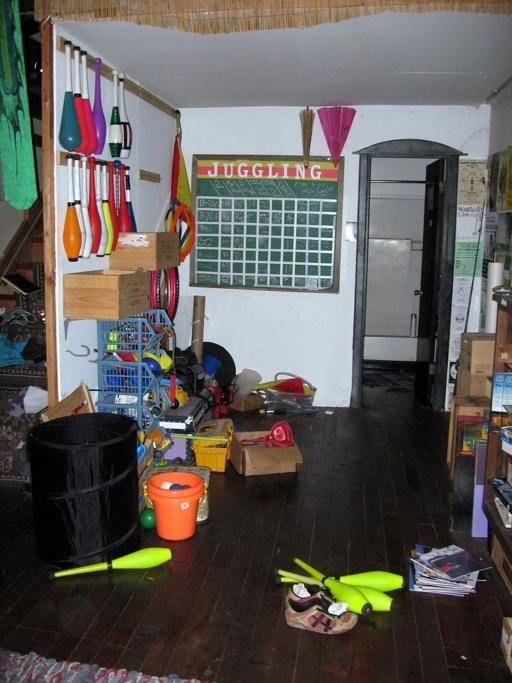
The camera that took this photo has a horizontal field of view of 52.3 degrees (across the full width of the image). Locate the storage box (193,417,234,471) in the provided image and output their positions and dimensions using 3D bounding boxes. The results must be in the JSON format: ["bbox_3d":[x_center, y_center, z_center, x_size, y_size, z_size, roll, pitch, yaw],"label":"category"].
[{"bbox_3d":[-0.286,0.677,3.523,0.236,0.254,0.372,2,5,2],"label":"storage box"}]

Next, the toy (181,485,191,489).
[{"bbox_3d":[-0.350,0.718,2.565,0.037,0.019,0.048,-1,-8,0],"label":"toy"}]

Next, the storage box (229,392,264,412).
[{"bbox_3d":[-0.073,0.582,4.890,0.195,0.097,0.196,-1,4,-18],"label":"storage box"}]

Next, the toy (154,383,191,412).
[{"bbox_3d":[-0.573,0.373,3.551,0.167,0.085,0.127,4,15,-3],"label":"toy"}]

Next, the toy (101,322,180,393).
[{"bbox_3d":[-0.743,0.091,3.233,0.384,0.411,0.551,1,5,0],"label":"toy"}]

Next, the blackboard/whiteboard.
[{"bbox_3d":[0.165,-1.157,4.935,1.302,1.164,0.097,2,10,6],"label":"blackboard/whiteboard"}]

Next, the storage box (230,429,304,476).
[{"bbox_3d":[0.075,0.752,3.525,0.455,0.209,0.363,-1,5,-17],"label":"storage box"}]

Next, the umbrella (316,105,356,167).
[{"bbox_3d":[0.698,-1.852,4.780,0.399,0.530,0.380,0,4,10],"label":"umbrella"}]

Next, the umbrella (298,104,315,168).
[{"bbox_3d":[0.458,-1.822,4.700,0.109,0.463,0.155,1,5,4],"label":"umbrella"}]

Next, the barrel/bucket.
[{"bbox_3d":[-0.388,0.779,2.516,0.289,0.247,0.275,1,-3,0],"label":"barrel/bucket"}]

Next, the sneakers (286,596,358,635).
[{"bbox_3d":[0.234,0.946,1.833,0.238,0.106,0.094,0,6,7],"label":"sneakers"}]
